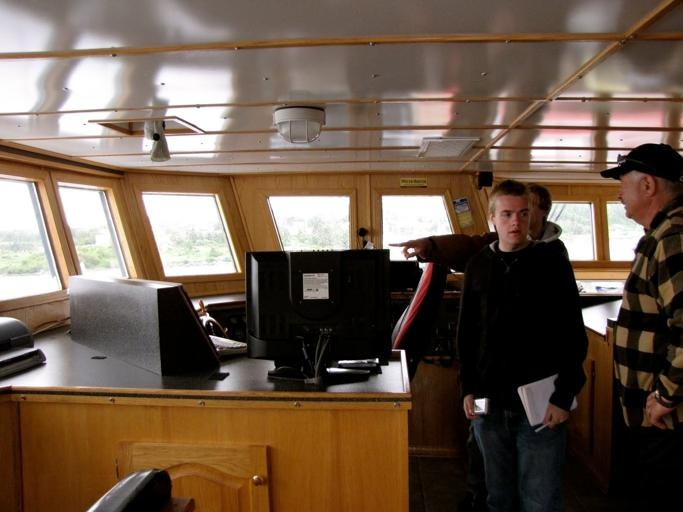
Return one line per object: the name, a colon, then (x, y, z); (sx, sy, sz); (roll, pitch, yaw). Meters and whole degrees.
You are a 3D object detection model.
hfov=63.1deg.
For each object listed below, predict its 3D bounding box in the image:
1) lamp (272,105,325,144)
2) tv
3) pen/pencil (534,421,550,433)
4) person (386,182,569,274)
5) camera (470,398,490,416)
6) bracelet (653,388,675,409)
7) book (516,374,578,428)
lamp: (-0.255, -0.760, 3.283); (0.351, 0.161, 0.301); (-2, -2, 11)
tv: (-0.114, 0.295, 2.850); (0.876, 0.591, 0.311); (0, 8, 0)
pen/pencil: (0.965, 0.823, 2.686); (0.094, 0.020, 0.022); (-35, -2, 11)
person: (0.791, -0.121, 3.216); (0.860, 0.334, 0.616); (-4, 4, 5)
camera: (0.703, 0.756, 2.804); (0.126, 0.092, 0.066); (-3, -11, 34)
bracelet: (1.443, 0.629, 2.490); (0.041, 0.079, 0.104); (-8, 3, -19)
book: (0.957, 0.705, 2.676); (0.193, 0.257, 0.080); (-5, 4, 8)
